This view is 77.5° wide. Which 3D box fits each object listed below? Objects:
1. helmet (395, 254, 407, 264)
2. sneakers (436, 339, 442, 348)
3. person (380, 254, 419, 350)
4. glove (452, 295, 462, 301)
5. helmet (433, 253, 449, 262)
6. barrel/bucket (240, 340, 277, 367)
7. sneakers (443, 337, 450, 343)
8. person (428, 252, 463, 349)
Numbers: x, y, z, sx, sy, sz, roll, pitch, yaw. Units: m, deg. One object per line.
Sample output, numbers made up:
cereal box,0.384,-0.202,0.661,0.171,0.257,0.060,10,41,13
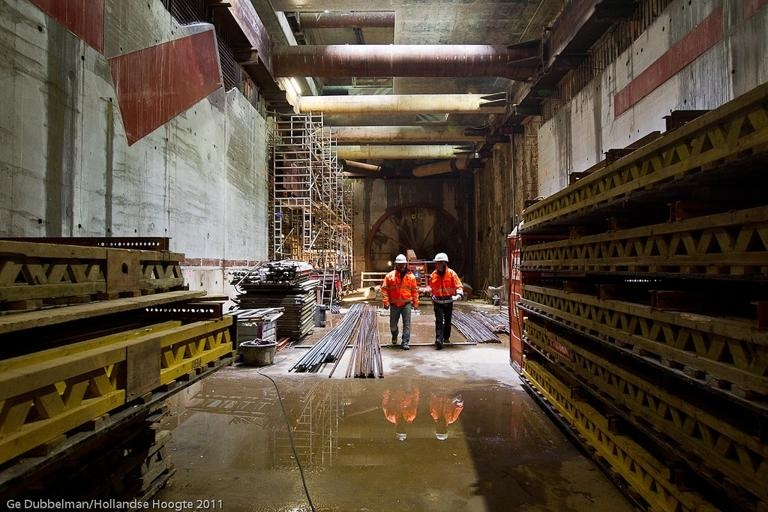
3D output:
helmet,0.448,0.057,11.278,0.238,0.139,0.259,0,-5,-4
sneakers,1.335,2.032,11.121,0.177,0.191,0.173,-1,-3,5
person,0.429,1.067,11.530,0.822,2.231,1.466,-1,8,2
glove,1.737,0.949,10.996,0.286,0.075,0.284,0,2,15
helmet,1.405,0.030,10.926,0.407,0.190,0.331,2,2,-9
barrel/bucket,-2.577,1.949,9.660,0.540,0.248,0.539,0,-2,0
sneakers,1.594,2.025,11.577,0.123,0.115,0.122,-1,-4,2
person,1.540,1.028,11.421,0.752,2.301,1.391,0,8,9
